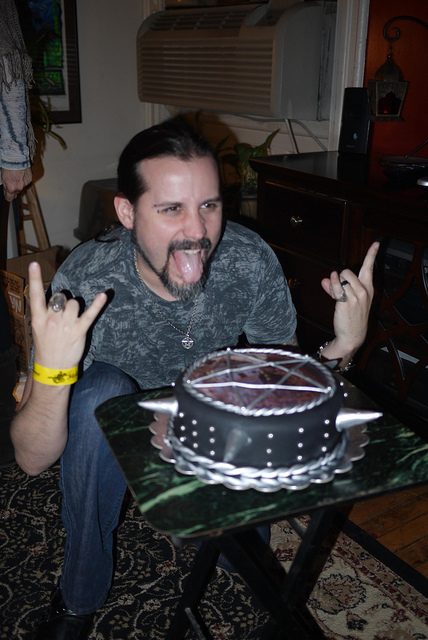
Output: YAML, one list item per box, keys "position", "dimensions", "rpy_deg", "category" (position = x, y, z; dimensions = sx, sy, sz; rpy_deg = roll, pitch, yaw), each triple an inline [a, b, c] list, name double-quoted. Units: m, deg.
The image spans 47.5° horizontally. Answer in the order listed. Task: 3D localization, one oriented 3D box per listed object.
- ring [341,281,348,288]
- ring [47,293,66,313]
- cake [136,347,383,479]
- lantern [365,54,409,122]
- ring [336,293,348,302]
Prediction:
- position: [0.250, -0.071, 0.943]
  dimensions: [0.010, 0.010, 0.012]
  rpy_deg: [-4, 13, -21]
  category: "ring"
- position: [-0.235, -0.025, 0.730]
  dimensions: [0.033, 0.039, 0.011]
  rpy_deg: [1, -6, -22]
  category: "ring"
- position: [0.082, 0.101, 0.644]
  dimensions: [0.310, 0.084, 0.235]
  rpy_deg: [-7, 15, -33]
  category: "cake"
- position: [0.558, -0.768, 1.570]
  dimensions: [0.140, 0.239, 0.135]
  rpy_deg: [9, 23, 28]
  category: "lantern"
- position: [0.242, -0.044, 0.932]
  dimensions: [0.012, 0.014, 0.016]
  rpy_deg: [-29, 14, -9]
  category: "ring"
